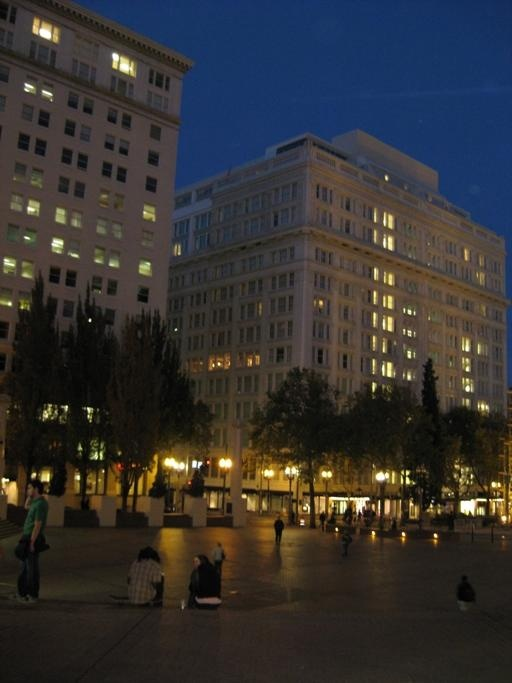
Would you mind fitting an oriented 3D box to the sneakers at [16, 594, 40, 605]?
[{"bbox_3d":[-3.197,3.611,9.947,0.167,0.076,0.167,0,-11,10],"label":"sneakers"}]

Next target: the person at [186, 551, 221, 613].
[{"bbox_3d":[-0.738,3.517,10.377,0.458,0.782,0.784,5,-12,-4],"label":"person"}]

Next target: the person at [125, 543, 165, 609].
[{"bbox_3d":[-1.462,3.147,9.515,0.423,0.791,0.555,7,-13,-15],"label":"person"}]
